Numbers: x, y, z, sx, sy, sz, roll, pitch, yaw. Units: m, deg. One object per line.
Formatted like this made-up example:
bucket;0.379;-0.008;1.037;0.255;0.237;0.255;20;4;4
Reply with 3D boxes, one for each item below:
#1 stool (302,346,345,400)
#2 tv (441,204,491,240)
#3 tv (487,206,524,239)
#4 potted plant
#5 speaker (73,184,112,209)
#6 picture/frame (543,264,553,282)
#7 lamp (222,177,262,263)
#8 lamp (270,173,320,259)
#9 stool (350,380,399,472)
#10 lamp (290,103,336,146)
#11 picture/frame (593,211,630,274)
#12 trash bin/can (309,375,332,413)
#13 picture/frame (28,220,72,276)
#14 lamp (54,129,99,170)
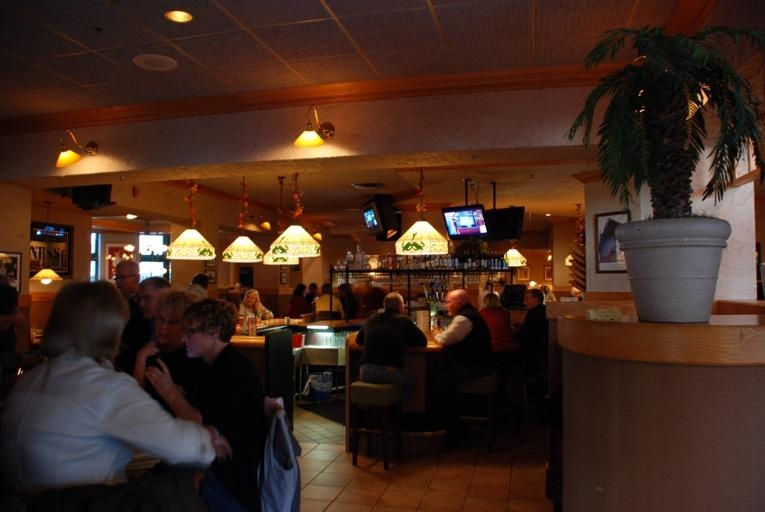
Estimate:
stool;-0.829;1.687;8.716;0.566;0.618;0.937;0;-12;8
tv;1.608;-0.637;10.323;0.839;0.645;0.462;-1;20;42
tv;2.211;-0.603;10.641;0.678;0.551;0.355;-1;1;44
potted plant;1.779;-0.557;3.592;1.324;1.786;0.963;-1;5;2
speaker;-4.027;-0.838;8.192;0.656;0.333;0.582;5;8;34
picture/frame;5.336;0.508;19.002;0.055;0.655;0.600;1;-4;-27
lamp;-2.042;-0.660;8.752;0.593;1.368;0.633;-2;6;-24
lamp;-1.150;-0.640;7.969;0.663;1.190;0.643;2;-7;-19
stool;-0.095;1.712;6.197;0.559;0.827;0.713;0;5;11
lamp;-0.681;-1.407;6.268;0.447;0.451;0.476;13;19;43
picture/frame;3.287;-0.201;8.435;0.041;0.878;0.676;0;-3;-26
trash bin/can;-0.880;1.896;8.347;0.373;0.454;0.426;-3;-4;24
picture/frame;-6.390;-0.111;11.354;1.516;1.174;0.115;2;1;24
lamp;-3.615;-1.257;6.859;0.603;0.454;0.261;1;6;20
